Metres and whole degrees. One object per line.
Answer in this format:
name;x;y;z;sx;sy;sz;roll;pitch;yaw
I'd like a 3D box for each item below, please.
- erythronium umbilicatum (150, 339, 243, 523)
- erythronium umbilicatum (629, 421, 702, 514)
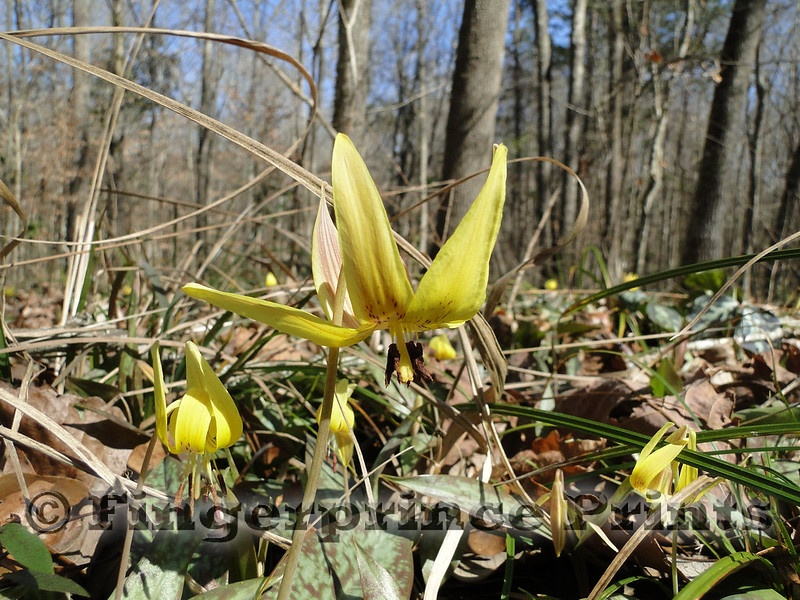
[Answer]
erythronium umbilicatum;-0.648;0.384;2.657;0.252;0.502;0.238;-5;0;17
erythronium umbilicatum;0.869;0.550;2.711;0.162;0.319;0.277;6;7;38
